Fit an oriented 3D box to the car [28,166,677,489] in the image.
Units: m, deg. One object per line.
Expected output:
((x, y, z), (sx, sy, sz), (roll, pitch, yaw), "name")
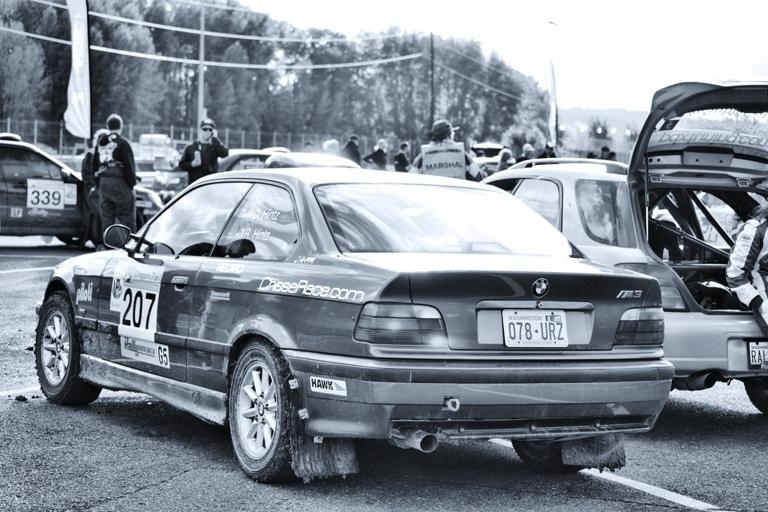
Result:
((-0.612, 0.337, 6.107), (2.061, 1.411, 4.087), (3, 2, -36), "car")

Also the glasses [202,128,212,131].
((-3.407, -2.482, 15.899), (0.173, 0.071, 0.064), (2, 7, -8), "glasses")
